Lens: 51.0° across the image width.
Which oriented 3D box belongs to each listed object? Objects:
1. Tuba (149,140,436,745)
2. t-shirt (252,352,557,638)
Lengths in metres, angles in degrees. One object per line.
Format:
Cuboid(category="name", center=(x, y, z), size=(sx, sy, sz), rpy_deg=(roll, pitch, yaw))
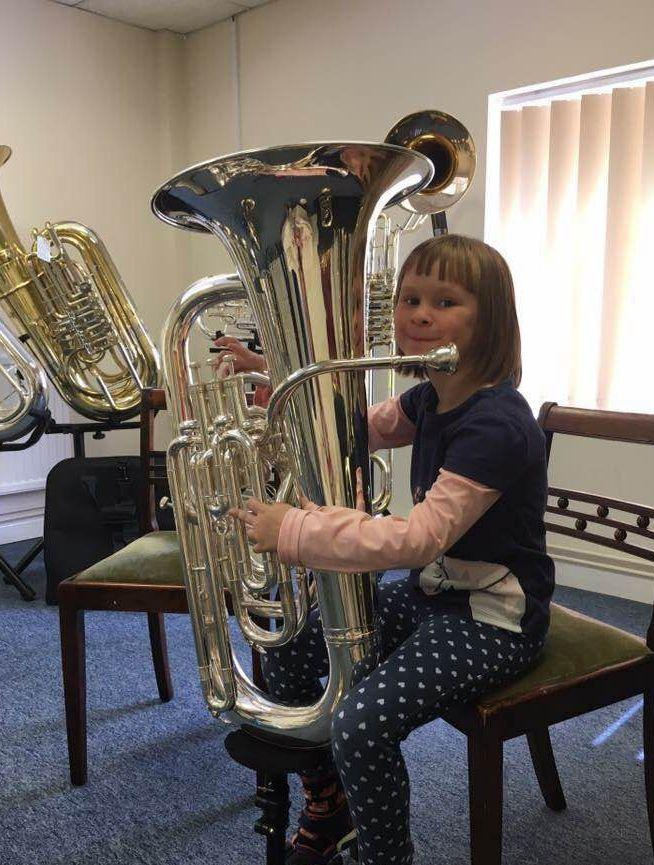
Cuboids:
Cuboid(category="Tuba", center=(-0.055, 0.018, 0.788), size=(0.341, 0.659, 0.222), rpy_deg=(0, 5, 8))
Cuboid(category="t-shirt", center=(0.104, 0.112, 0.804), size=(0.129, 0.355, 0.264), rpy_deg=(-12, 9, 18))
